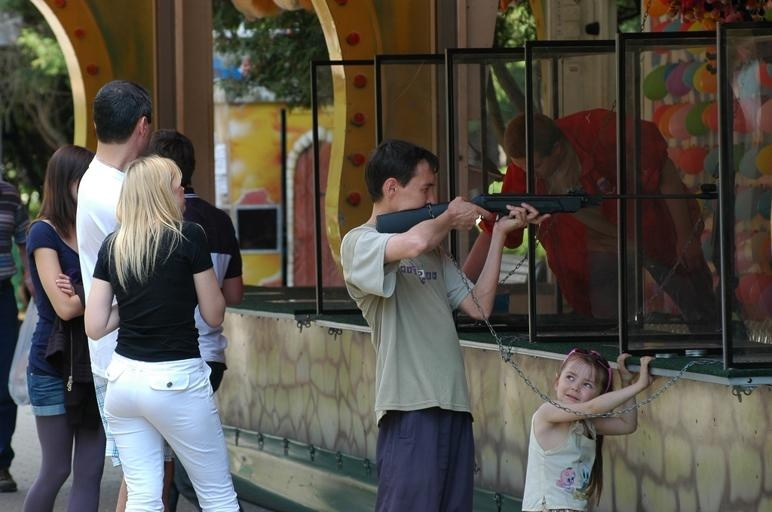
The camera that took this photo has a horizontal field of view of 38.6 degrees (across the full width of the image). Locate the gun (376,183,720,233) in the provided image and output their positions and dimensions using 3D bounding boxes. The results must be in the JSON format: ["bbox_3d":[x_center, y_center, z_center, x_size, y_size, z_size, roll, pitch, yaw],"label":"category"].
[{"bbox_3d":[0.935,-0.250,5.969,2.267,0.385,0.180,-2,2,-1],"label":"gun"}]
